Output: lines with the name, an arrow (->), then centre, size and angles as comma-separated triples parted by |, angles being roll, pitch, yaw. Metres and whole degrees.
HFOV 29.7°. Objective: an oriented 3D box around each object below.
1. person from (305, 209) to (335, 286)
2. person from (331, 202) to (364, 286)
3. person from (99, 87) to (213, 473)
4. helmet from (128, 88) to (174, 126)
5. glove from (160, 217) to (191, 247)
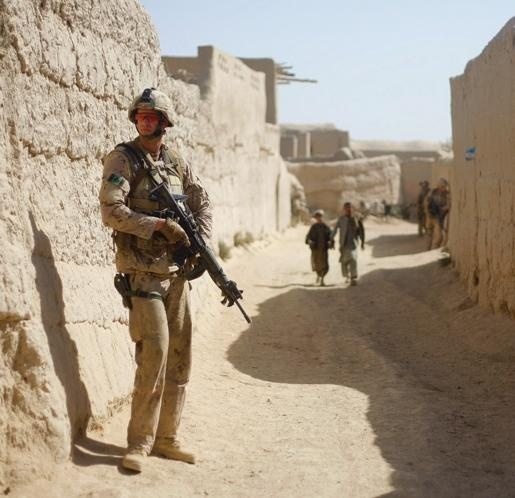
person -> 0.869, -0.030, 13.661 | 0.364, 1.054, 0.698 | -1, 8, 3
person -> 1.241, -0.078, 13.417 | 0.434, 1.127, 1.001 | -1, 8, 5
person -> -0.656, 0.186, 6.445 | 0.560, 2.470, 0.971 | 2, 9, 20
helmet -> -0.678, -0.950, 6.506 | 0.236, 0.208, 0.265 | 4, 17, 3
glove -> -0.548, -0.102, 6.402 | 0.135, 0.204, 0.249 | 5, 11, 39
